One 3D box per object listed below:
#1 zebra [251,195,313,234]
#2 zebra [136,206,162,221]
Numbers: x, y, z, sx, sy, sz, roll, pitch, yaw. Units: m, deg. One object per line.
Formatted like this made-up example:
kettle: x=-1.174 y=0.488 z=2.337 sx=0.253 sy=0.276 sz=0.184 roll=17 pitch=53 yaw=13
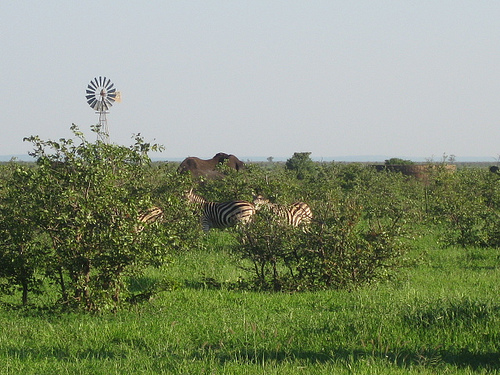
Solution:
zebra: x=1.209 y=0.912 z=38.055 sx=1.300 sy=1.448 sz=1.579 roll=-3 pitch=2 yaw=6
zebra: x=-3.345 y=0.949 z=36.388 sx=0.700 sy=0.370 sz=0.742 roll=-6 pitch=-8 yaw=32
